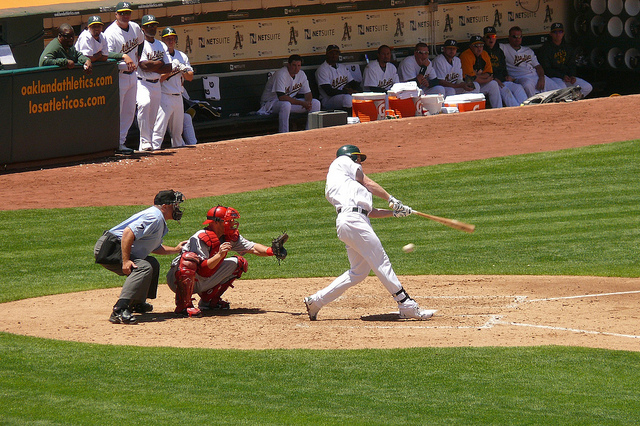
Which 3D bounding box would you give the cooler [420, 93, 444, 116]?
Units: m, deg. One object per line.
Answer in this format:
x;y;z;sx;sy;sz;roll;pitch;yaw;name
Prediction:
2.478;-2.419;28.981;0.434;0.323;0.522;2;6;18;cooler

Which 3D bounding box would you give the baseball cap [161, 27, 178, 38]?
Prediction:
-3.124;-3.647;26.113;0.252;0.145;0.314;-6;1;-37;baseball cap

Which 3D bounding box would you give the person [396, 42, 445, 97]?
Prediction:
2.367;-3.373;30.285;0.954;1.164;0.415;-4;7;5;person

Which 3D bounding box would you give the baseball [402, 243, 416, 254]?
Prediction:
1.308;0.550;19.148;0.192;0.075;0.215;-14;2;11;baseball

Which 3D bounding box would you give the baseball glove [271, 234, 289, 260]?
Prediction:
-0.550;0.521;18.993;0.145;0.342;0.255;-14;40;8;baseball glove

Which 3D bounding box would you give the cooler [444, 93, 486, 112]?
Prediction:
3.250;-2.487;29.276;0.908;0.381;0.854;-3;6;5;cooler

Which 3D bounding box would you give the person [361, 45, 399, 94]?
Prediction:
1.455;-3.255;30.241;1.104;1.265;0.925;7;16;13;person

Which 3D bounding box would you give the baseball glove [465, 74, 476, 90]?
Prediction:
3.530;-3.111;30.645;0.122;0.317;0.244;-31;-10;22;baseball glove

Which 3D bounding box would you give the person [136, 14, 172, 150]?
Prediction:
-3.324;-2.590;25.746;0.766;2.634;0.601;-6;7;-9;person

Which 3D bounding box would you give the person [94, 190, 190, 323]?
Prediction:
-2.623;0.641;18.926;1.304;1.865;0.511;-5;7;-9;person

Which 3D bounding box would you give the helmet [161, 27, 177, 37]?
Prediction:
-3.128;-3.652;26.154;0.313;0.180;0.393;-7;6;-35;helmet

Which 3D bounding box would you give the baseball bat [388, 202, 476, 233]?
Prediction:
1.860;0.100;21.639;1.396;0.167;0.164;14;39;2;baseball bat

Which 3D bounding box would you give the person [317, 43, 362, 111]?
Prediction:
0.373;-3.125;30.046;0.849;1.517;0.760;-4;7;8;person

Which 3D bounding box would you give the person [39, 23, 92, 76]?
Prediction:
-4.880;-3.023;24.674;0.885;1.055;1.152;-8;22;-39;person

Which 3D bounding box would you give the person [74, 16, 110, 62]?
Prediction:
-4.441;-3.344;24.921;0.777;0.788;0.742;5;8;17;person

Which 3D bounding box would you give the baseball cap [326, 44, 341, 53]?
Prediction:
0.269;-3.808;29.995;0.281;0.177;0.316;-4;6;0;baseball cap

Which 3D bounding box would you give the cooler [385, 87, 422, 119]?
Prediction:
1.885;-2.406;29.025;0.916;0.718;0.512;-2;9;-2;cooler

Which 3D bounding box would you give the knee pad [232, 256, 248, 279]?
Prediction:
-1.194;0.792;19.272;0.201;0.300;0.252;-4;6;3;knee pad

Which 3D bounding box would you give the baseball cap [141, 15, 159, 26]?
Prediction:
-3.438;-3.836;25.777;0.272;0.160;0.368;-5;8;-34;baseball cap

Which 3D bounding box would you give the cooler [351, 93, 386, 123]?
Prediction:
1.074;-2.344;29.162;0.755;0.633;0.750;-1;8;1;cooler

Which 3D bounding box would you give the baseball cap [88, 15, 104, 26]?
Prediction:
-4.287;-3.648;24.605;0.230;0.172;0.194;-5;6;-12;baseball cap

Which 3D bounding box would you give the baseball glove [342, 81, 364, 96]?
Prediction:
0.774;-2.920;30.193;0.354;0.296;0.761;0;7;33;baseball glove

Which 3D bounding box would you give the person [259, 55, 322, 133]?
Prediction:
-0.736;-2.678;29.049;1.337;1.678;0.834;-4;7;-2;person

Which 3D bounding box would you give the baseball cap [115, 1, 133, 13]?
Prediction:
-3.818;-3.993;25.090;0.270;0.192;0.270;-8;7;-34;baseball cap

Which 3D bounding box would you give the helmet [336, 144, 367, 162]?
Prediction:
0.484;-0.902;19.096;0.368;0.155;0.253;5;-24;1;helmet
